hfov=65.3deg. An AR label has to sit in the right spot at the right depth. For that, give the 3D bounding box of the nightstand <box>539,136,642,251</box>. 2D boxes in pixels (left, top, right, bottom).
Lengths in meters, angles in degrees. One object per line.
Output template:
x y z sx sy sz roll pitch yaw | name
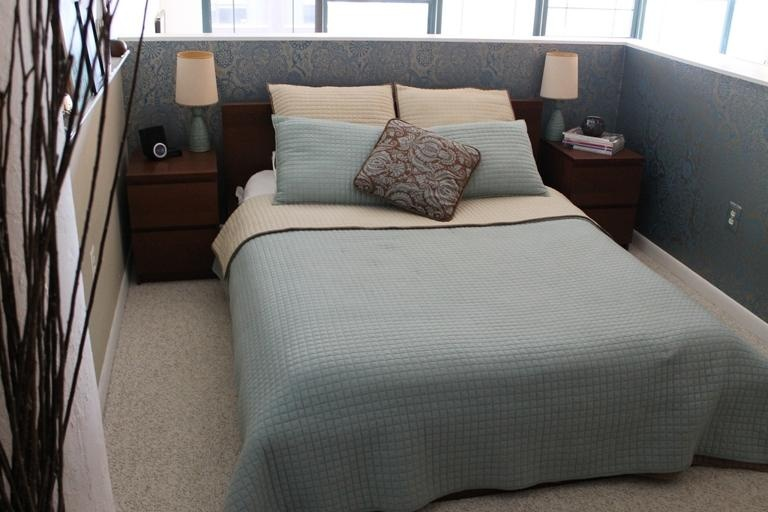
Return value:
1.331 -0.448 3.991 0.589 0.779 0.641 -6 28 -9 | nightstand

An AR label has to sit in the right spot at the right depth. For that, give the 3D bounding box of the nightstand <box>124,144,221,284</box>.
-1.275 -0.193 3.579 0.514 0.611 0.549 -4 11 -20 | nightstand

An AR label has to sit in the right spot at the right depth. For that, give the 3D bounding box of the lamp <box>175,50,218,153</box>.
-1.084 -0.894 3.499 0.237 0.572 0.340 -4 21 -14 | lamp
